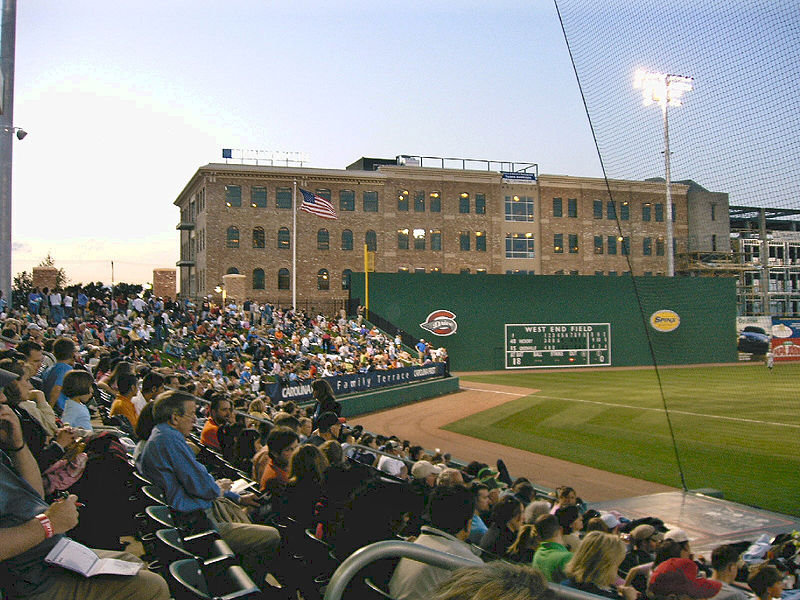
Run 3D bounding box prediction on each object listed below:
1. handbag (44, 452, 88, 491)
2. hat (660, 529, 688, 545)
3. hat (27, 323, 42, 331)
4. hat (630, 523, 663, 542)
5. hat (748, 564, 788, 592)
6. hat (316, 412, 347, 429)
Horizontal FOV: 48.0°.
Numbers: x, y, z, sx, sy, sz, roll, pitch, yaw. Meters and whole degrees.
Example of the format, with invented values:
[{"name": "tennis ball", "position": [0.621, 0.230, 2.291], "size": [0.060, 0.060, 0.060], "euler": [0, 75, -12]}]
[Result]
[{"name": "handbag", "position": [-4.193, 2.164, 11.454], "size": [0.422, 0.226, 0.545], "euler": [4, 12, 28]}, {"name": "hat", "position": [3.940, 3.366, 12.914], "size": [0.313, 0.113, 0.215], "euler": [-4, 5, -24]}, {"name": "hat", "position": [-9.540, 0.671, 23.453], "size": [0.310, 0.129, 0.241], "euler": [-4, -3, 42]}, {"name": "hat", "position": [3.580, 3.368, 13.156], "size": [0.397, 0.138, 0.249], "euler": [-4, 2, -8]}, {"name": "hat", "position": [5.035, 3.812, 12.316], "size": [0.512, 0.438, 0.249], "euler": [1, -4, -13]}, {"name": "hat", "position": [-1.116, 1.857, 14.098], "size": [0.359, 0.244, 0.458], "euler": [0, -4, -10]}]
